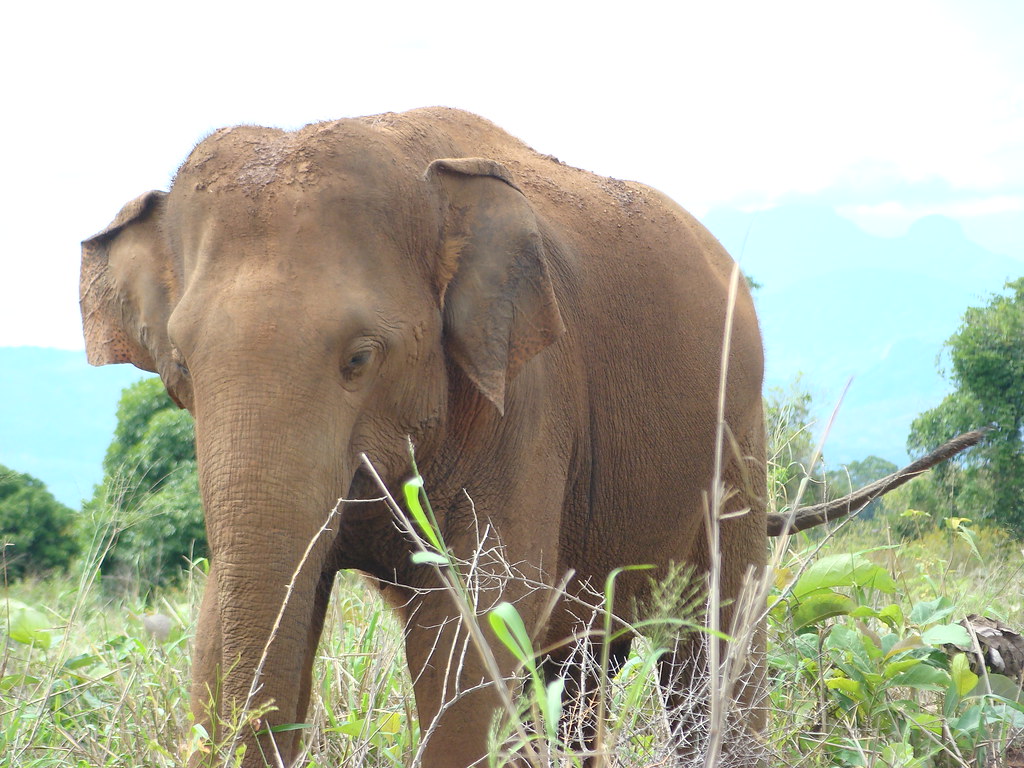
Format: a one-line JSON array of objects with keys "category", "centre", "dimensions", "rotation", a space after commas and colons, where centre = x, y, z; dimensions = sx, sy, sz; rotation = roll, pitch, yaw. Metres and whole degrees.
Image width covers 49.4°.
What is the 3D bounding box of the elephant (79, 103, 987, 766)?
[{"category": "elephant", "centre": [0.047, 0.242, 3.514], "dimensions": [1.452, 1.961, 2.287], "rotation": [-16, -26, 39]}]
